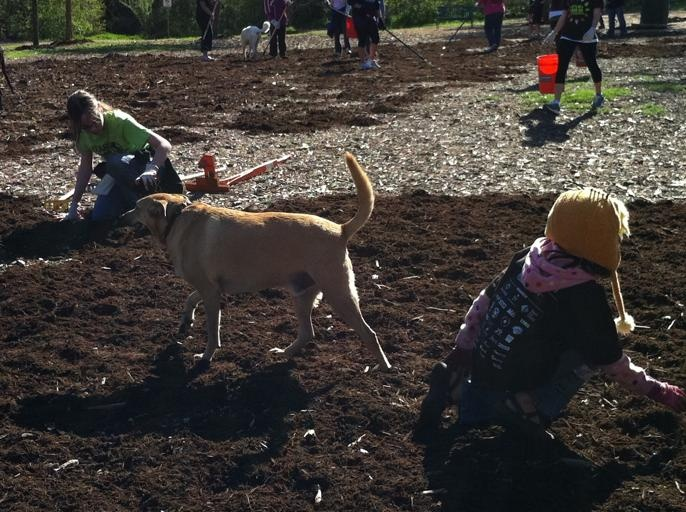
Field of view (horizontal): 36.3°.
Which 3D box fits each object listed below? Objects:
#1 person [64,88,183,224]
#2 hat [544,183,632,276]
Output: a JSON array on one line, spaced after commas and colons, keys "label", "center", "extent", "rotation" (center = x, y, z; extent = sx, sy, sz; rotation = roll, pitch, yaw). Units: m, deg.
[{"label": "person", "center": [-2.907, -1.183, 13.324], "extent": [1.446, 1.762, 1.160], "rotation": [-13, 9, -32]}, {"label": "hat", "center": [2.420, -0.324, 10.494], "extent": [0.811, 0.800, 0.661], "rotation": [28, 29, 26]}]
